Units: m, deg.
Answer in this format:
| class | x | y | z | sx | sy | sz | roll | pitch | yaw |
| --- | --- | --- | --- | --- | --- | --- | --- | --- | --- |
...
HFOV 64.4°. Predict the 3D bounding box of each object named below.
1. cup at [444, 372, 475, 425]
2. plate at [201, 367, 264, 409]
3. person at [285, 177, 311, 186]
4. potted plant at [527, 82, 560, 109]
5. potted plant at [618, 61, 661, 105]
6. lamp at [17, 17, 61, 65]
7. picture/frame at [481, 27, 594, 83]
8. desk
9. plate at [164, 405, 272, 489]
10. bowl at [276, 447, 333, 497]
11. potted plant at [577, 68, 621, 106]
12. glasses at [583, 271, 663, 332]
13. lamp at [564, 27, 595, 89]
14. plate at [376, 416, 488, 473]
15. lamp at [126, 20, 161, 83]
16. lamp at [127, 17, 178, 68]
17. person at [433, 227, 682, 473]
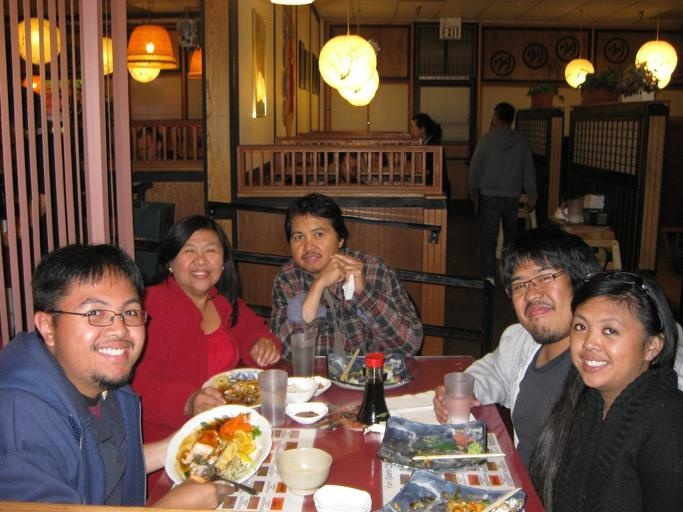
| class | x | y | z | sx | sy | sz | roll | pitch | yaw |
| --- | --- | --- | --- | --- | --- | --- | --- | --- | --- |
| cup | 0.368 | 0.456 | 1.714 | 0.088 | 0.155 | 0.089 | 1 | 11 | 0 |
| plate | -0.356 | 0.470 | 1.959 | 0.151 | 0.042 | 0.149 | -5 | 21 | -41 |
| person | -0.407 | -0.733 | 5.214 | 0.248 | 0.105 | 0.977 | 0 | 8 | -4 |
| potted plant | 3.298 | -2.614 | 8.892 | 0.420 | 0.439 | 0.531 | 3 | 8 | 18 |
| potted plant | 3.387 | -1.945 | 6.130 | 0.336 | 0.456 | 0.572 | 1 | 7 | 5 |
| lamp | -3.010 | -2.188 | 5.508 | 0.089 | 0.421 | 0.392 | -9 | 15 | -20 |
| picture/frame | 4.175 | -4.341 | 11.647 | 2.291 | 1.248 | 0.102 | 0 | -4 | 2 |
| desk | 1.642 | -0.110 | 3.614 | 0.447 | 0.468 | 0.366 | 0 | 21 | 3 |
| plate | -0.336 | 0.552 | 1.569 | 0.264 | 0.048 | 0.277 | 20 | 21 | -25 |
| bowl | -0.090 | 0.556 | 1.416 | 0.102 | 0.059 | 0.109 | 1 | -2 | 0 |
| potted plant | 3.188 | -2.082 | 6.673 | 0.407 | 0.399 | 0.519 | -1 | 4 | -1 |
| glasses | 0.706 | 0.117 | 1.452 | 0.201 | 0.060 | 0.189 | -41 | 14 | -28 |
| lamp | 4.295 | -3.551 | 9.792 | 0.483 | 1.184 | 0.468 | 3 | -4 | -43 |
| plate | 0.269 | 0.547 | 1.562 | 0.197 | 0.052 | 0.156 | 0 | 10 | 6 |
| lamp | -2.359 | -2.415 | 6.415 | 0.452 | 0.683 | 0.445 | -7 | 22 | -34 |
| lamp | -2.247 | -2.449 | 6.406 | 0.528 | 0.472 | 0.567 | -1 | 1 | 3 |
| person | 0.803 | 0.228 | 2.442 | 0.681 | 1.360 | 0.950 | 8 | 12 | -10 |
